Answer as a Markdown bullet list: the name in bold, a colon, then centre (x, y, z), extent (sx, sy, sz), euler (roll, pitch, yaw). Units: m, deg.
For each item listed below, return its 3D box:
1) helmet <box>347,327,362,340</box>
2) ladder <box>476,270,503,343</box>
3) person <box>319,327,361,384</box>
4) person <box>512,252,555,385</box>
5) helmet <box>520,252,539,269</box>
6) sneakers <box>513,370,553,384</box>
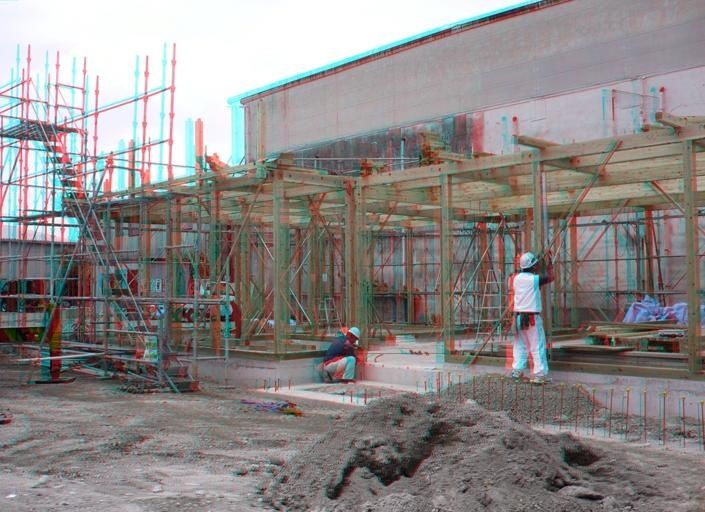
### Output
- **helmet**: centre (0.023, 1.525, 16.617), extent (0.201, 0.126, 0.240), euler (33, -4, -22)
- **ladder**: centre (2.517, 0.882, 15.118), extent (0.570, 1.349, 0.873), euler (-3, -6, 8)
- **person**: centre (-0.171, 1.910, 16.412), extent (0.784, 1.024, 0.782), euler (6, 1, 4)
- **person**: centre (2.981, 0.975, 13.851), extent (0.729, 2.121, 0.499), euler (-3, -6, 9)
- **helmet**: centre (2.977, 0.094, 14.068), extent (0.241, 0.149, 0.289), euler (-18, 14, 28)
- **sneakers**: centre (2.913, 1.988, 13.656), extent (0.677, 0.269, 0.223), euler (-6, -8, 17)
